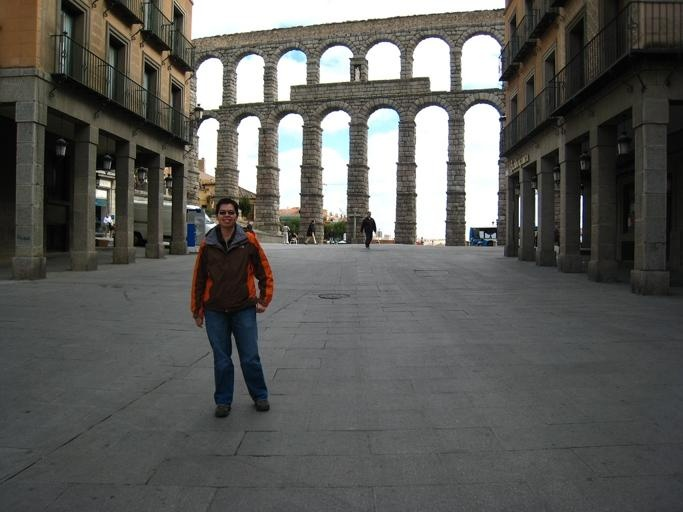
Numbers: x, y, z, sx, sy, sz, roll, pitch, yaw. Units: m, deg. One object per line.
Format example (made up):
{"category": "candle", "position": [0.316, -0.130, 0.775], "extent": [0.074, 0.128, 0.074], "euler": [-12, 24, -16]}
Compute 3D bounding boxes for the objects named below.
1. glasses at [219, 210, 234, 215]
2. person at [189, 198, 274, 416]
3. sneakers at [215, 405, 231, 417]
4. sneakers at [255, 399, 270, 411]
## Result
{"category": "glasses", "position": [-1.294, -0.482, 6.749], "extent": [0.164, 0.047, 0.067], "euler": [-2, 9, -14]}
{"category": "person", "position": [-1.254, 0.519, 6.794], "extent": [0.920, 2.333, 0.895], "euler": [0, 7, -2]}
{"category": "sneakers", "position": [-1.292, 1.677, 6.554], "extent": [0.188, 0.116, 0.154], "euler": [-5, 9, -26]}
{"category": "sneakers", "position": [-0.892, 1.654, 6.693], "extent": [0.184, 0.104, 0.138], "euler": [0, 8, 3]}
